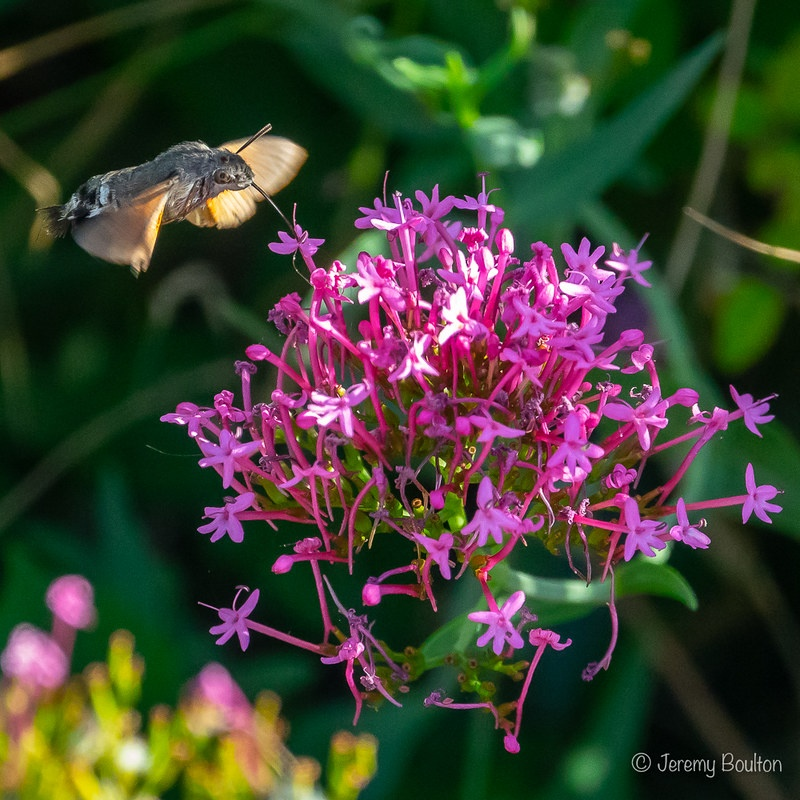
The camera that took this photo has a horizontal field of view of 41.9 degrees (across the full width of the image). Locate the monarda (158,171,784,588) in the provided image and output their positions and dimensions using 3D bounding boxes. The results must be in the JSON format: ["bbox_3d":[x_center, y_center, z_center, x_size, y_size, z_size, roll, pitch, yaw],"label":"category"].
[{"bbox_3d":[0.080,0.001,1.365,0.494,0.714,0.555,-2,-11,4],"label":"monarda"}]

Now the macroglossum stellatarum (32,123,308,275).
[{"bbox_3d":[-0.313,-0.297,1.482,0.335,0.150,0.306,21,25,14],"label":"macroglossum stellatarum"}]

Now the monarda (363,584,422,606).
[{"bbox_3d":[0.004,0.233,1.266,0.091,0.027,0.037,-1,0,-13],"label":"monarda"}]

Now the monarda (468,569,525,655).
[{"bbox_3d":[0.105,0.244,1.205,0.059,0.086,0.049,-5,-3,-7],"label":"monarda"}]
